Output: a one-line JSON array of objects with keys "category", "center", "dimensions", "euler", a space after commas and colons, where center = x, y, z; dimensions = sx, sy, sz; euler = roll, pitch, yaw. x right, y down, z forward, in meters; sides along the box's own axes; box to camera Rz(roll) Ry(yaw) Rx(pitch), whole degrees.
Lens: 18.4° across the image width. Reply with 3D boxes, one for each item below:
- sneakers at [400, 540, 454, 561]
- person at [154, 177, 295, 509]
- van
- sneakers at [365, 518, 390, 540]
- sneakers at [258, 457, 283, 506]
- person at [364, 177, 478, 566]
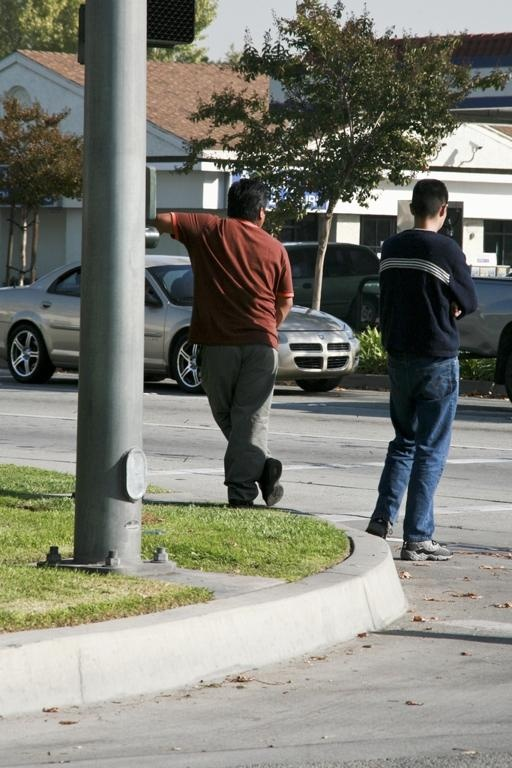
[{"category": "sneakers", "center": [0.774, 0.762, 7.424], "dimensions": [0.212, 0.126, 0.098], "euler": [0, 0, -16]}, {"category": "person", "center": [-0.149, -0.181, 7.970], "dimensions": [0.611, 1.666, 0.502], "euler": [3, 7, 0]}, {"category": "van", "center": [1.285, -1.692, 27.145], "dimensions": [1.887, 1.173, 1.114], "euler": [-5, 5, -20]}, {"category": "sneakers", "center": [0.558, 0.691, 7.527], "dimensions": [0.054, 0.083, 0.174], "euler": [4, -1, 17]}, {"category": "sneakers", "center": [0.066, 0.474, 7.943], "dimensions": [0.081, 0.287, 0.106], "euler": [-16, 25, -27]}, {"category": "person", "center": [0.740, -0.079, 7.515], "dimensions": [0.459, 1.747, 0.599], "euler": [0, 8, -21]}]
